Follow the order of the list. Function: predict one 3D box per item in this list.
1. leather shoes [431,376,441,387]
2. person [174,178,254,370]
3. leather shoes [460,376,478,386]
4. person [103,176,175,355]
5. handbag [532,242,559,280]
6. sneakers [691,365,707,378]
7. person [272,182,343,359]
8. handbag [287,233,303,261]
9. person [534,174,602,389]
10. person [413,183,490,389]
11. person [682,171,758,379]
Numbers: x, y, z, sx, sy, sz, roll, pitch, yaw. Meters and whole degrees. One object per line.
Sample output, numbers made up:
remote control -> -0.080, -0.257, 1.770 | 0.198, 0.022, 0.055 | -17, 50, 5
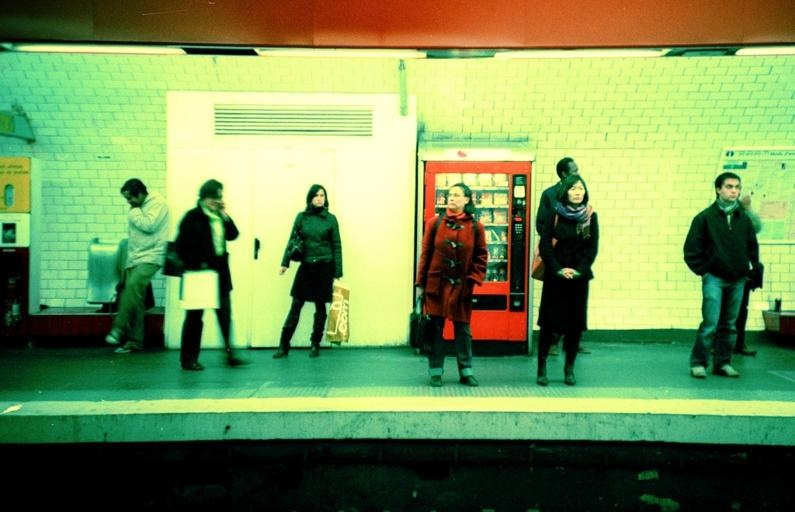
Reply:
leather shoes -> 0.498, 1.588, 10.056 | 0.159, 0.121, 0.205 | 0, 10, 1
person -> -2.514, 0.266, 10.631 | 0.880, 2.587, 0.730 | -6, 12, -29
leather shoes -> 0.919, 1.582, 10.071 | 0.229, 0.124, 0.225 | 1, 10, 4
person -> -3.800, 0.143, 11.609 | 1.031, 2.523, 0.555 | -7, 13, -32
handbag -> 1.951, 0.067, 10.342 | 0.234, 0.543, 0.551 | 2, 5, 2
sneakers -> 3.975, 1.522, 10.429 | 0.203, 0.134, 0.208 | 3, 11, 18
person -> -1.275, 0.315, 11.437 | 0.916, 2.247, 0.371 | -2, 11, -8
handbag -> -1.473, -0.118, 11.337 | 0.241, 0.346, 0.113 | -1, 11, -2
person -> 2.167, 0.305, 10.067 | 0.708, 2.650, 0.581 | 1, 11, 9
person -> 0.694, 0.366, 10.150 | 0.901, 2.543, 0.770 | 0, 11, 0
person -> 4.277, 0.243, 10.418 | 0.931, 2.646, 0.607 | -1, 11, -2
